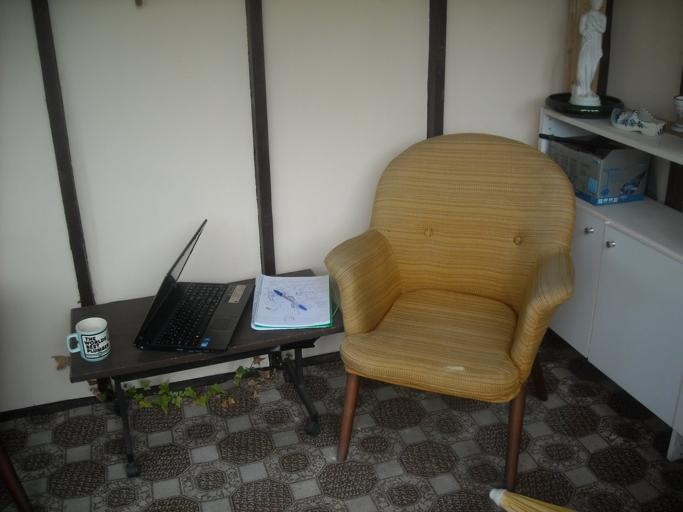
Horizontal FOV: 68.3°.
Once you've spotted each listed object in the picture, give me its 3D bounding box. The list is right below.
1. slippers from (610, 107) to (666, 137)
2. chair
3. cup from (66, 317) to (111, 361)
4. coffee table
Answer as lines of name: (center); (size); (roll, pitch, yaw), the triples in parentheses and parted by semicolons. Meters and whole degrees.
slippers: (1.198, -0.546, 2.051); (0.104, 0.086, 0.202); (-33, 48, -27)
chair: (0.444, 0.173, 2.018); (0.909, 1.061, 0.987); (-2, 25, 10)
cup: (-0.931, 0.314, 1.895); (0.196, 0.146, 0.124); (1, 25, -2)
coffee table: (-0.557, 0.494, 2.259); (1.066, 0.739, 0.739); (-4, 64, -24)
